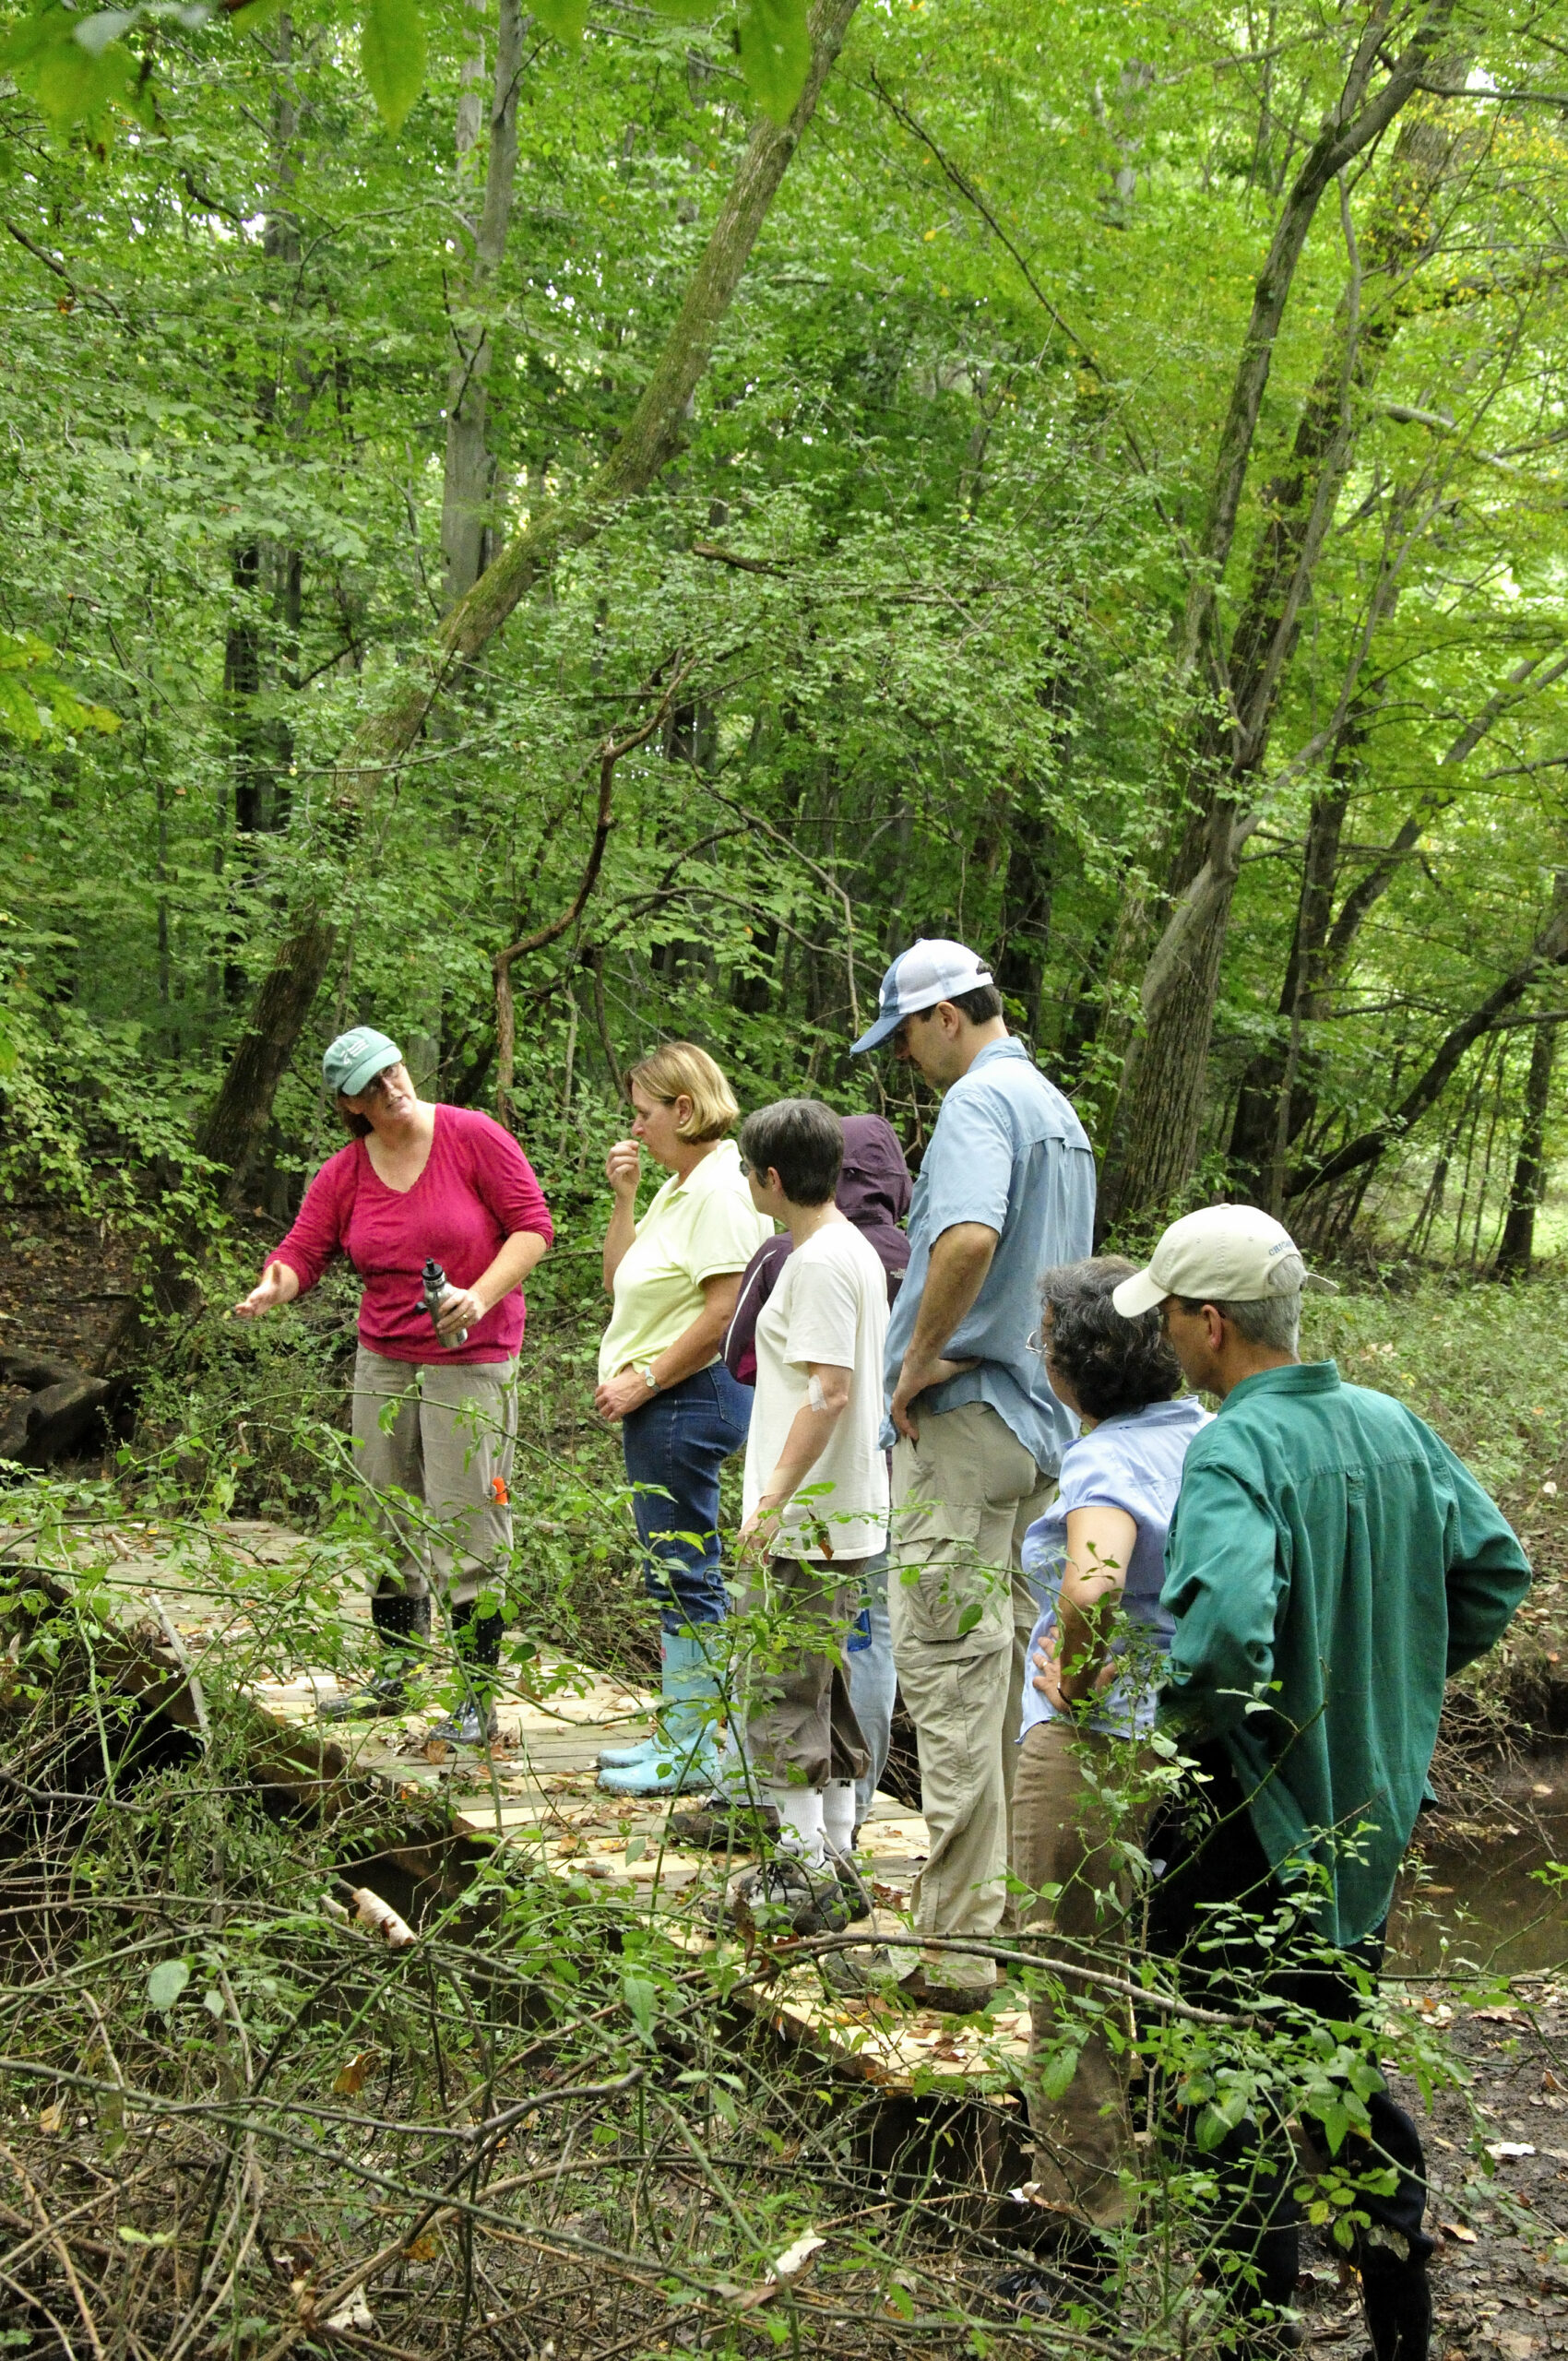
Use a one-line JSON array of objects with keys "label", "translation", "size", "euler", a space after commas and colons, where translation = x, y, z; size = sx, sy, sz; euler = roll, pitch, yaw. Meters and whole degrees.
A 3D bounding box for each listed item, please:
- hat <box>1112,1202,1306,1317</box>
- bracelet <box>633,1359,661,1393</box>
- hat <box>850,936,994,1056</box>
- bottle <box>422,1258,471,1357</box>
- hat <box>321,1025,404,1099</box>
[{"label": "hat", "translation": [0.574, 0.108, 2.898], "size": [0.196, 0.105, 0.137], "euler": [3, 11, 33]}, {"label": "bracelet", "translation": [-0.290, 0.420, 4.554], "size": [0.049, 0.045, 0.060], "euler": [1, 24, 10]}, {"label": "hat", "translation": [0.240, -0.365, 4.255], "size": [0.296, 0.153, 0.183], "euler": [-25, 7, 19]}, {"label": "bottle", "translation": [-0.775, 0.300, 4.878], "size": [0.112, 0.222, 0.300], "euler": [8, 7, -8]}, {"label": "hat", "translation": [-0.980, -0.260, 4.916], "size": [0.140, 0.098, 0.192], "euler": [-32, 5, -19]}]
